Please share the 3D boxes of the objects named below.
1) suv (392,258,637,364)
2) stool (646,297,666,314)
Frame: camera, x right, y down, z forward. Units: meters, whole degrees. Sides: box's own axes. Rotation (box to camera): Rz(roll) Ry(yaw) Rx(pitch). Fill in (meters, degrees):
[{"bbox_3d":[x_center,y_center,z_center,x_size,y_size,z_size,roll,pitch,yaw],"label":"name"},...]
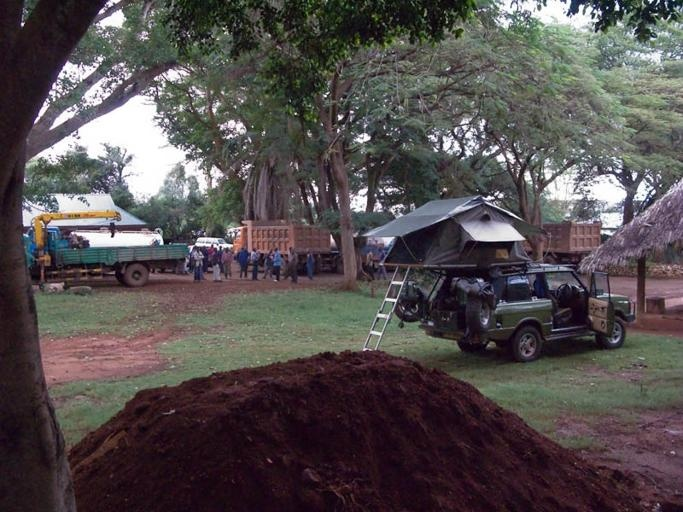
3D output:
[{"bbox_3d":[3.834,1.086,11.472,3.682,1.554,2.577,-4,5,-28],"label":"suv"},{"bbox_3d":[10.489,1.636,17.463,0.538,0.531,0.654,-2,-2,32],"label":"stool"}]
